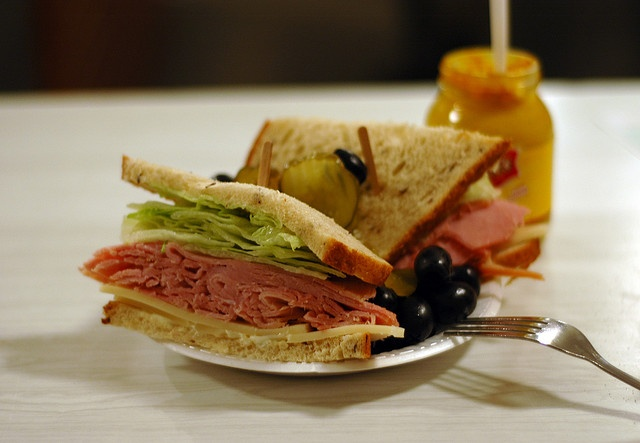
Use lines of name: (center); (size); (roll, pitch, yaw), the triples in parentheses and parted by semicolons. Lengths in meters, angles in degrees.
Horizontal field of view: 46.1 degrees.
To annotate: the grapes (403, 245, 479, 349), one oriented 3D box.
grapes: (0.405, 0.258, 2.550); (0.134, 0.315, 0.306); (-22, 31, 48)
